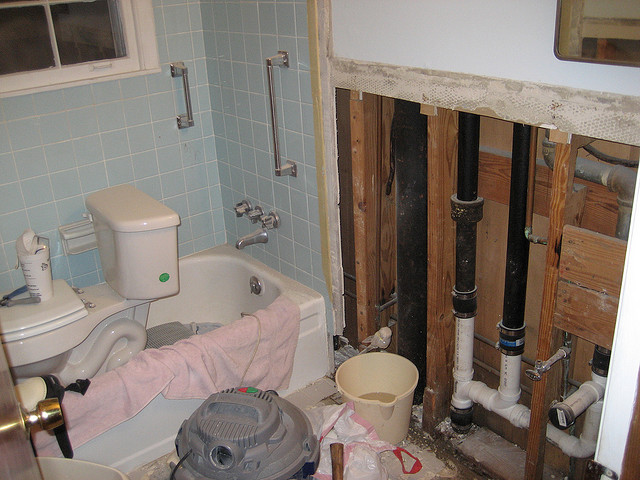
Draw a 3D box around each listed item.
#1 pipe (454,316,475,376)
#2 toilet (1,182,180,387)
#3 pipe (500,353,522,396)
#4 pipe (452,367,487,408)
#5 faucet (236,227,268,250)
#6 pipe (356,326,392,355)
[{"bbox_3d":[0.656,0.471,2.204,0.095,0.272,0.124,6,26,15],"label":"pipe"},{"bbox_3d":[-1.228,0.062,2.862,1.162,1.168,0.697,-15,31,-36],"label":"toilet"},{"bbox_3d":[0.811,0.566,2.059,0.091,0.193,0.078,11,27,25],"label":"pipe"},{"bbox_3d":[0.689,0.696,2.249,0.099,0.170,0.167,-2,0,-37],"label":"pipe"},{"bbox_3d":[-0.393,0.004,2.800,0.160,0.088,0.105,-19,31,-37],"label":"faucet"},{"bbox_3d":[0.285,0.525,2.490,0.159,0.145,0.114,0,25,2],"label":"pipe"}]
